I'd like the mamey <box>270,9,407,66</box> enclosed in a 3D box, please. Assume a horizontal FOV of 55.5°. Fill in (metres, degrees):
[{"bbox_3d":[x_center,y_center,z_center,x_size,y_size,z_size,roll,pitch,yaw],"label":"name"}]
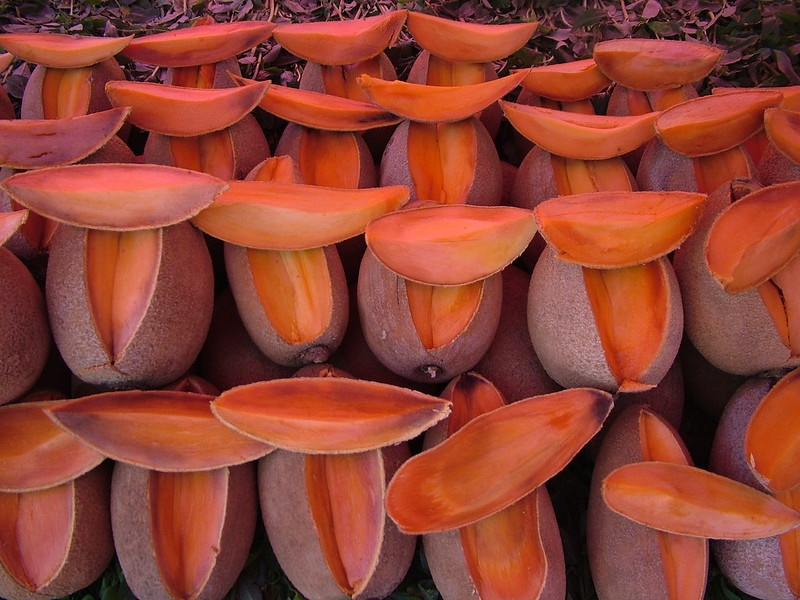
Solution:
[{"bbox_3d":[-0.103,-0.458,1.333,0.229,0.079,0.096,-8,45,-6],"label":"mamey"}]
